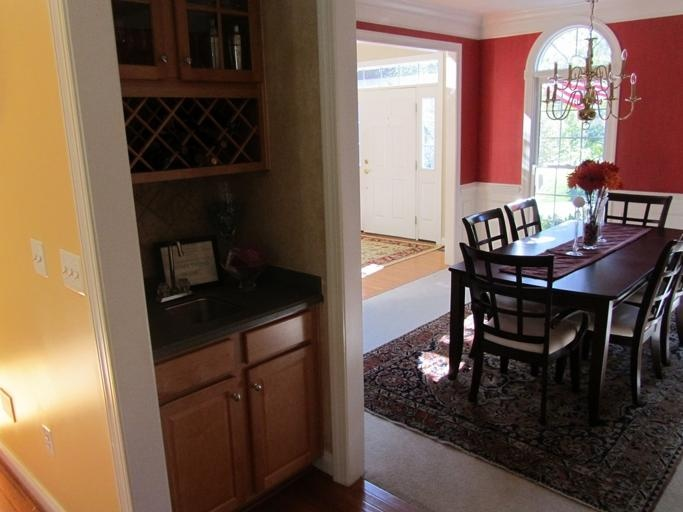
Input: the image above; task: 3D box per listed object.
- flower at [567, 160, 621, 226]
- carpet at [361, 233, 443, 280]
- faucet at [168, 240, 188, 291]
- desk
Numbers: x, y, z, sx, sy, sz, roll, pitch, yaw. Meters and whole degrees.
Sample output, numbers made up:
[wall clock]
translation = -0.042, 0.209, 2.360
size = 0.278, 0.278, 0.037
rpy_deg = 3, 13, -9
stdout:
[flower]
translation = 2.005, -0.528, 4.317
size = 0.447, 0.470, 0.458
rpy_deg = -17, 21, -28
[carpet]
translation = 0.820, -0.049, 7.458
size = 1.121, 0.045, 1.679
rpy_deg = -2, 15, 5
[faucet]
translation = -0.919, 0.055, 3.038
size = 0.086, 0.245, 0.163
rpy_deg = -8, 16, -17
[desk]
translation = 1.600, 0.763, 4.142
size = 1.114, 0.951, 2.103
rpy_deg = 11, 26, 35
